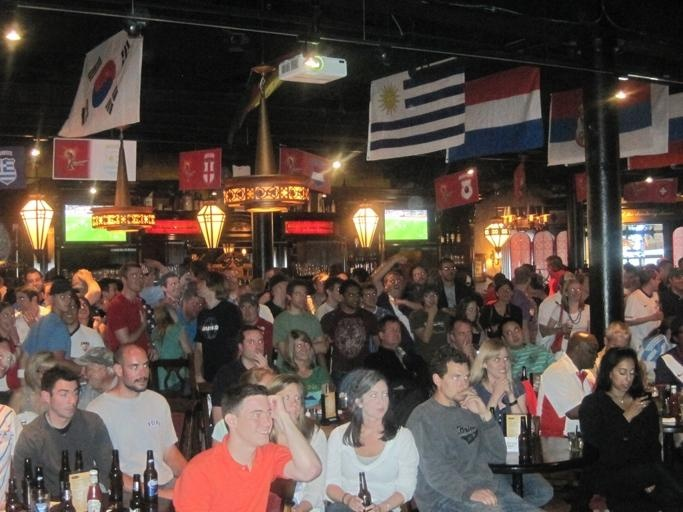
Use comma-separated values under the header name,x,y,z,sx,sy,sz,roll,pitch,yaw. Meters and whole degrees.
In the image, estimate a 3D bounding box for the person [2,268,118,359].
name,x,y,z,sx,sy,sz,roll,pitch,yaw
person,-3.053,0.675,8.312,0.568,0.857,0.831,-1,-2,10

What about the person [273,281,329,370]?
name,x,y,z,sx,sy,sz,roll,pitch,yaw
person,-0.478,0.806,9.000,0.634,1.034,1.458,0,-2,-2

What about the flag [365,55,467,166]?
name,x,y,z,sx,sy,sz,roll,pitch,yaw
flag,0.921,-1.835,9.642,1.305,1.205,0.099,-2,-5,29

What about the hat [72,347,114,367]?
name,x,y,z,sx,sy,sz,roll,pitch,yaw
hat,-2.324,0.953,7.294,0.317,0.156,0.221,9,-7,-10

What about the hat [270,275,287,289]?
name,x,y,z,sx,sy,sz,roll,pitch,yaw
hat,-0.828,0.360,10.020,0.181,0.112,0.186,-8,-4,34

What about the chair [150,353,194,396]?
name,x,y,z,sx,sy,sz,roll,pitch,yaw
chair,-1.899,1.318,8.683,0.401,0.691,0.463,1,-10,-2

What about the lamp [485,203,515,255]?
name,x,y,z,sx,sy,sz,roll,pitch,yaw
lamp,4.217,-0.641,20.743,0.654,1.426,3.213,-1,-2,12

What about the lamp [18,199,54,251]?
name,x,y,z,sx,sy,sz,roll,pitch,yaw
lamp,-4.460,-0.464,11.364,0.405,0.735,0.535,0,-2,-22

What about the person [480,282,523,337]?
name,x,y,z,sx,sy,sz,roll,pitch,yaw
person,2.121,0.755,10.267,0.538,0.861,0.469,5,0,2

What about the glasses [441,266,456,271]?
name,x,y,z,sx,sy,sz,roll,pitch,yaw
glasses,1.597,0.197,11.536,0.189,0.059,0.148,0,-2,-3

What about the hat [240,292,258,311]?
name,x,y,z,sx,sy,sz,roll,pitch,yaw
hat,-1.066,0.534,8.910,0.153,0.193,0.209,-1,14,6

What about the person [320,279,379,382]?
name,x,y,z,sx,sy,sz,roll,pitch,yaw
person,0.170,1.140,9.499,0.767,1.663,0.454,-3,20,-3

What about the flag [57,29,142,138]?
name,x,y,z,sx,sy,sz,roll,pitch,yaw
flag,-2.565,-1.838,8.166,0.068,0.951,1.333,15,-14,-36

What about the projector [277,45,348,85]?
name,x,y,z,sx,sy,sz,roll,pitch,yaw
projector,-0.289,-1.640,6.821,0.655,0.265,0.297,1,-2,-39

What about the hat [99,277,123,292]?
name,x,y,z,sx,sy,sz,roll,pitch,yaw
hat,-3.350,0.432,11.253,0.281,0.290,0.231,-8,3,-16

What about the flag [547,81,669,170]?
name,x,y,z,sx,sy,sz,roll,pitch,yaw
flag,3.349,-1.667,9.830,1.339,0.923,0.081,-3,-9,31

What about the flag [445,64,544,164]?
name,x,y,z,sx,sy,sz,roll,pitch,yaw
flag,1.856,-1.778,9.557,1.278,1.096,0.113,-4,-10,37

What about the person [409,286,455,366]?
name,x,y,z,sx,sy,sz,roll,pitch,yaw
person,1.218,1.011,9.940,0.510,1.316,0.407,-9,18,2

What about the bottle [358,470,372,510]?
name,x,y,z,sx,sy,sz,roll,pitch,yaw
bottle,0.189,1.852,6.266,0.109,0.276,0.242,-1,-2,1

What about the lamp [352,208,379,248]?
name,x,y,z,sx,sy,sz,roll,pitch,yaw
lamp,0.476,-0.514,14.228,0.571,0.842,0.619,2,7,10
